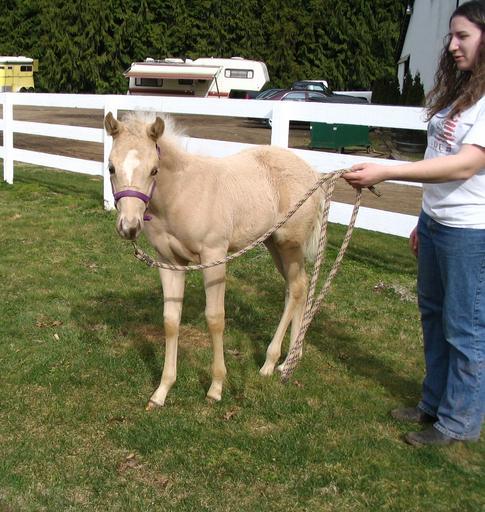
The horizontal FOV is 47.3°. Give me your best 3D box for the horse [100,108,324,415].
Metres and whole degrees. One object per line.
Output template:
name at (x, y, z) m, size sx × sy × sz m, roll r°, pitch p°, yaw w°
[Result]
horse at (-0.099, -0.038, 3.894) m, size 0.571 × 2.010 × 2.118 m, roll 11°, pitch 16°, yaw 41°
